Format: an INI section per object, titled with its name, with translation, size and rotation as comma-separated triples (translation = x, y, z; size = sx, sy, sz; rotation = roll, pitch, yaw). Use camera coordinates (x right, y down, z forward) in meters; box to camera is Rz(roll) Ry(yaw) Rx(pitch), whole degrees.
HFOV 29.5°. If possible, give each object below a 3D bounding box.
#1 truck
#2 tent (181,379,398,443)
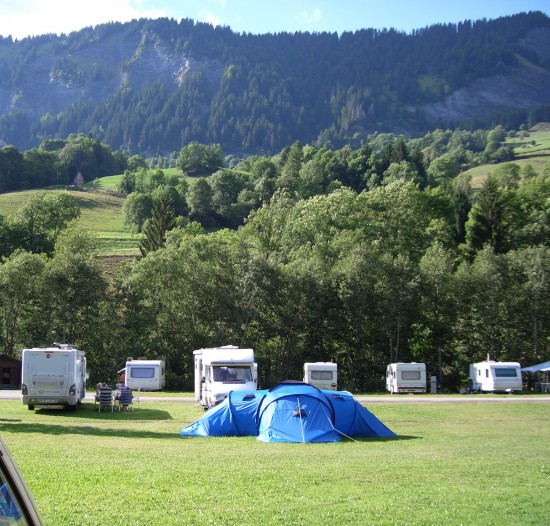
[truck]
translation = -2.453, 5.661, 53.516
size = 2.581, 3.592, 3.197
rotation = -1, -1, -13
[tent]
translation = 0.587, 6.786, 44.514
size = 6.096, 2.948, 4.405
rotation = -4, -3, -7
